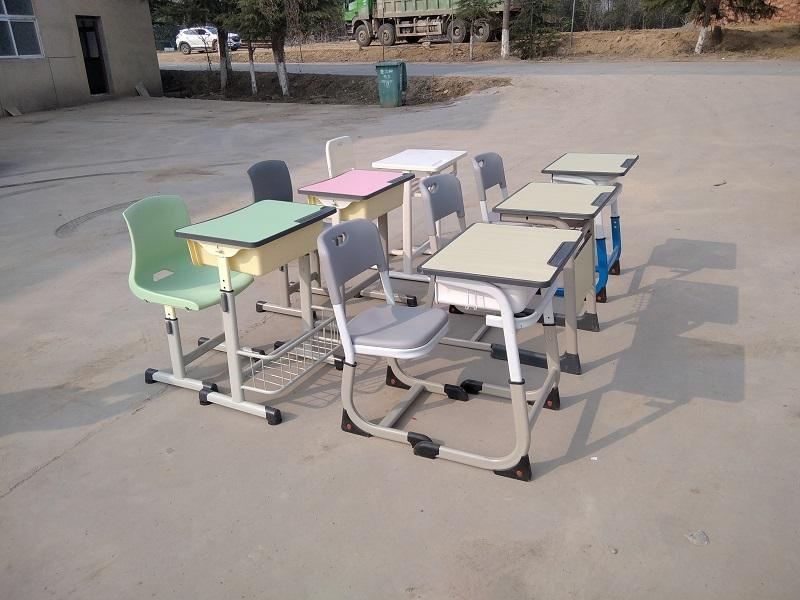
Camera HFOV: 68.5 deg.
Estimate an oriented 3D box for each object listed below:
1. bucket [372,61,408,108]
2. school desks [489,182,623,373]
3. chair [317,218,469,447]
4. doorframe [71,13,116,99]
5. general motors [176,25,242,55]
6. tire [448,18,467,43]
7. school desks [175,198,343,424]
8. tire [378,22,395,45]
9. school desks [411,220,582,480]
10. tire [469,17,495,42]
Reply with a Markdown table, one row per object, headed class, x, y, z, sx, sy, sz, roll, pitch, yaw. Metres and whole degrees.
| class | x | y | z | sx | sy | sz | roll | pitch | yaw |
| --- | --- | --- | --- | --- | --- | --- | --- | --- | --- |
| bucket | -0.228 | -5.369 | 14.654 | 0.717 | 1.051 | 0.621 | -2 | 23 | -3 |
| school desks | 0.978 | -0.112 | 3.725 | 0.646 | 0.820 | 1.168 | 9 | 31 | 24 |
| chair | 0.006 | 0.172 | 3.354 | 0.865 | 1.110 | 0.731 | 2 | 23 | 11 |
| doorframe | -10.091 | -8.028 | 19.271 | 1.275 | 2.404 | 0.179 | 12 | 24 | 23 |
| general motors | -11.021 | -14.170 | 32.175 | 3.005 | 1.354 | 0.929 | 18 | 29 | 38 |
| tire | 2.105 | -10.075 | 21.902 | 0.774 | 0.747 | 0.266 | -4 | 21 | 33 |
| school desks | -0.939 | 0.111 | 3.897 | 0.819 | 1.222 | 1.125 | 12 | 30 | 18 |
| tire | -0.531 | -10.581 | 23.296 | 0.901 | 0.875 | 0.315 | 14 | 29 | 39 |
| school desks | 0.576 | 0.251 | 3.478 | 0.939 | 1.152 | 1.079 | 7 | 21 | 18 |
| tire | 3.104 | -9.987 | 21.793 | 0.800 | 0.733 | 0.845 | 1 | 23 | 3 |
